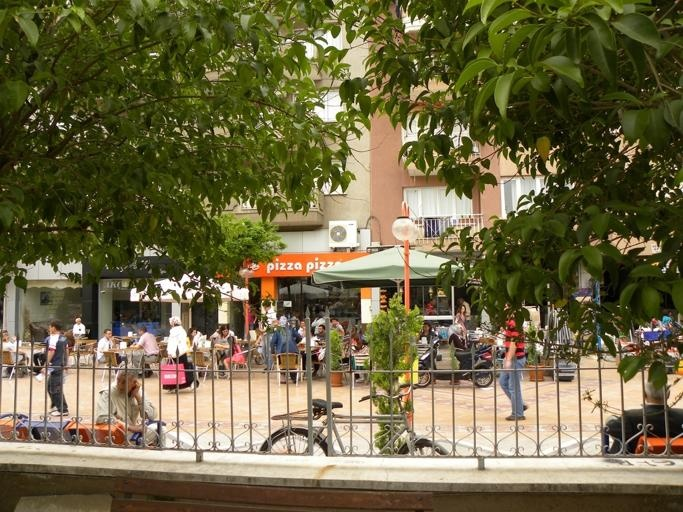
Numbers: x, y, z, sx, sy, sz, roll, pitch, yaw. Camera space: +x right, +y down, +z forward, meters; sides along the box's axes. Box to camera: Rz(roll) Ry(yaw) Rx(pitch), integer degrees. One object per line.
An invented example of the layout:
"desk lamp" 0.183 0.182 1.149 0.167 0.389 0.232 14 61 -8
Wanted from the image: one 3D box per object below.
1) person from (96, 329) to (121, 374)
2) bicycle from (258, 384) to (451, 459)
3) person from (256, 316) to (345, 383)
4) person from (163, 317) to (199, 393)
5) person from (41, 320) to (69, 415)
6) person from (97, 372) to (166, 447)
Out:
"person" -4.757 1.964 19.645 0.507 0.966 0.419 -2 -4 36
"bicycle" 0.082 1.574 8.668 1.642 1.062 0.775 -3 -8 11
"person" -0.591 1.554 17.475 1.414 1.101 1.378 -2 -7 19
"person" -2.848 1.623 17.295 0.591 1.098 0.554 -3 13 10
"person" -4.081 1.566 13.608 0.377 1.323 0.474 0 -4 -25
"person" -1.986 1.499 9.192 0.668 0.856 0.507 -1 3 -10
